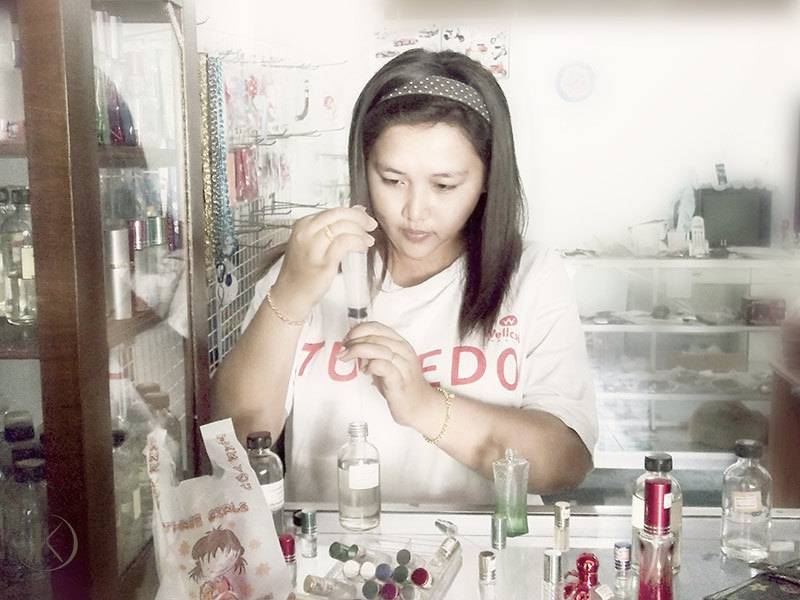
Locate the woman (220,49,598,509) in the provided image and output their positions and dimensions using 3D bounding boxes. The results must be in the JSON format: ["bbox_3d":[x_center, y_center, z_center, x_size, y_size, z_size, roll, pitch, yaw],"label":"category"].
[{"bbox_3d":[-0.009,0.205,1.931,0.947,1.733,0.802,-2,21,-10],"label":"woman"}]

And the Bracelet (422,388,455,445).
[{"bbox_3d":[0.098,0.293,1.625,0.033,0.132,0.097,8,1,-4],"label":"Bracelet"}]
